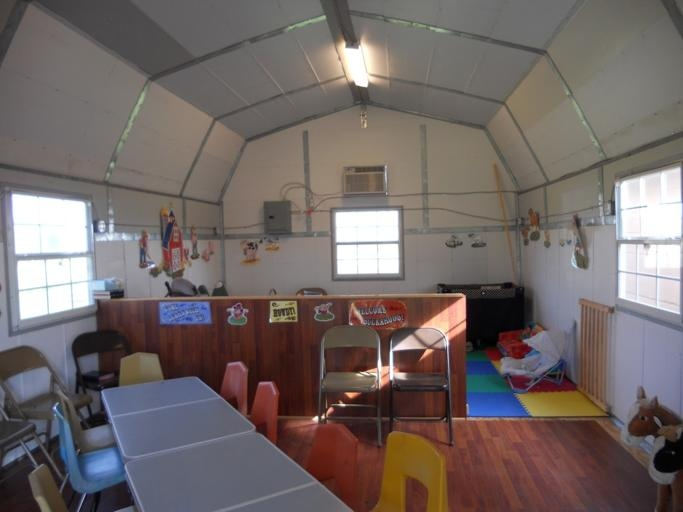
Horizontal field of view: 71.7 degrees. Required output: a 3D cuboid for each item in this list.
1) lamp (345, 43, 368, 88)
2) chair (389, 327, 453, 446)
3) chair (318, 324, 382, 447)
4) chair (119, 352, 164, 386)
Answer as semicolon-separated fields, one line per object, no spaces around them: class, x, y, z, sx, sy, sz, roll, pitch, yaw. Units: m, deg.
lamp;0.210;-2.661;6.650;0.269;0.446;1.047;0;14;6
chair;0.890;1.386;5.219;0.725;1.136;0.659;0;13;6
chair;0.076;1.398;5.211;0.737;1.146;0.721;0;13;4
chair;-1.997;1.121;4.765;0.316;0.329;0.341;-4;-9;2
